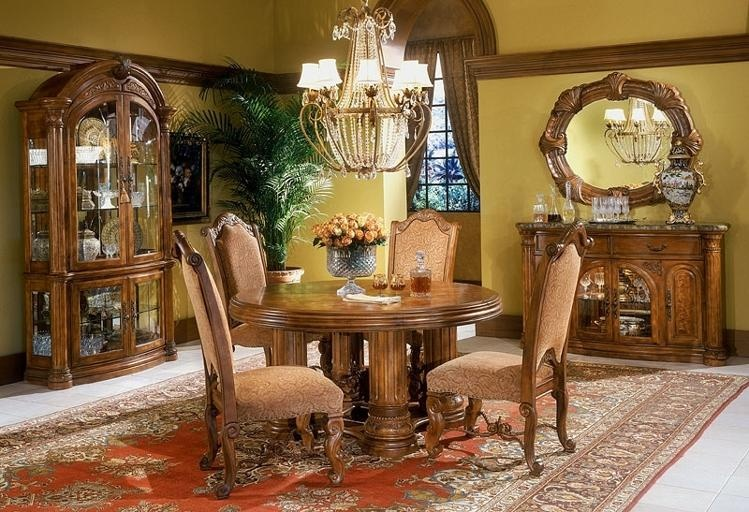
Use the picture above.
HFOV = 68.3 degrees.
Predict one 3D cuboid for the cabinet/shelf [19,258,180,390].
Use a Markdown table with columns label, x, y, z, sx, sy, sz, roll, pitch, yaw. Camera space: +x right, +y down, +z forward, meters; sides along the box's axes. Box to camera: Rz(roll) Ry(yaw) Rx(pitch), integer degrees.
| label | x | y | z | sx | sy | sz | roll | pitch | yaw |
| --- | --- | --- | --- | --- | --- | --- | --- | --- | --- |
| cabinet/shelf | -2.564 | 0.562 | 5.423 | 0.551 | 1.173 | 1.376 | 5 | 6 | 25 |

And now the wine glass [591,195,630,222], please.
| label | x | y | z | sx | sy | sz | roll | pitch | yaw |
| --- | --- | --- | --- | --- | --- | --- | --- | --- | --- |
| wine glass | 2.472 | -0.491 | 5.779 | 0.310 | 0.228 | 0.298 | 0 | 2 | 16 |

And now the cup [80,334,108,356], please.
| label | x | y | z | sx | sy | sz | roll | pitch | yaw |
| --- | --- | --- | --- | --- | --- | --- | --- | --- | --- |
| cup | -2.580 | 0.810 | 5.090 | 0.163 | 0.073 | 0.166 | -22 | -28 | -12 |

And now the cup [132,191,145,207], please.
| label | x | y | z | sx | sy | sz | roll | pitch | yaw |
| --- | --- | --- | --- | --- | --- | --- | --- | --- | --- |
| cup | -2.298 | -0.559 | 5.418 | 0.117 | 0.094 | 0.114 | -1 | 0 | 0 |

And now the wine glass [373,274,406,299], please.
| label | x | y | z | sx | sy | sz | roll | pitch | yaw |
| --- | --- | --- | --- | --- | --- | --- | --- | --- | --- |
| wine glass | 0.122 | 0.189 | 3.704 | 0.232 | 0.138 | 0.115 | 0 | 4 | 11 |

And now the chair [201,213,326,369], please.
| label | x | y | z | sx | sy | sz | roll | pitch | yaw |
| --- | --- | --- | --- | --- | --- | --- | --- | --- | --- |
| chair | -1.013 | 0.437 | 4.577 | 0.894 | 1.345 | 0.832 | -1 | -17 | -12 |

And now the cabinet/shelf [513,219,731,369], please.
| label | x | y | z | sx | sy | sz | roll | pitch | yaw |
| --- | --- | --- | --- | --- | --- | --- | --- | --- | --- |
| cabinet/shelf | 2.549 | 0.320 | 5.762 | 1.950 | 1.414 | 0.602 | 1 | 11 | 34 |

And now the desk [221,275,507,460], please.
| label | x | y | z | sx | sy | sz | roll | pitch | yaw |
| --- | --- | --- | --- | --- | --- | --- | --- | --- | --- |
| desk | 0.152 | 0.721 | 3.897 | 1.425 | 0.725 | 1.429 | 0 | 3 | -28 |

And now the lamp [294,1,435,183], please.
| label | x | y | z | sx | sy | sz | roll | pitch | yaw |
| --- | --- | --- | --- | --- | --- | --- | --- | --- | --- |
| lamp | -0.072 | -1.198 | 3.853 | 0.886 | 1.294 | 0.651 | 0 | 6 | 7 |

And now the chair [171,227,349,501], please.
| label | x | y | z | sx | sy | sz | roll | pitch | yaw |
| --- | --- | --- | --- | --- | --- | --- | --- | --- | --- |
| chair | -0.616 | 0.589 | 3.903 | 1.369 | 1.981 | 1.061 | -2 | 5 | -18 |

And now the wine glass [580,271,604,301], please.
| label | x | y | z | sx | sy | sz | roll | pitch | yaw |
| --- | --- | --- | --- | --- | --- | --- | --- | --- | --- |
| wine glass | 2.228 | 0.297 | 5.645 | 0.262 | 0.300 | 0.266 | -1 | 5 | 12 |

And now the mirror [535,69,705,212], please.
| label | x | y | z | sx | sy | sz | roll | pitch | yaw |
| --- | --- | --- | --- | --- | --- | --- | --- | --- | --- |
| mirror | 2.651 | -1.218 | 5.822 | 1.581 | 1.444 | 0.120 | 0 | 1 | 29 |

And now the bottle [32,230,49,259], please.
| label | x | y | z | sx | sy | sz | roll | pitch | yaw |
| --- | --- | --- | --- | --- | --- | --- | --- | --- | --- |
| bottle | -2.960 | -0.094 | 4.915 | 0.170 | 0.259 | 0.024 | 0 | 6 | 12 |

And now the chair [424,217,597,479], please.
| label | x | y | z | sx | sy | sz | roll | pitch | yaw |
| --- | --- | --- | --- | --- | --- | --- | --- | --- | --- |
| chair | 0.841 | 0.525 | 3.454 | 0.864 | 1.468 | 0.718 | -1 | 0 | 35 |

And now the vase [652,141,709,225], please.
| label | x | y | z | sx | sy | sz | roll | pitch | yaw |
| --- | --- | --- | --- | --- | --- | --- | --- | --- | --- |
| vase | 3.008 | -0.719 | 5.489 | 0.422 | 0.792 | 0.576 | 3 | 6 | 33 |

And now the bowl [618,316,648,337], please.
| label | x | y | z | sx | sy | sz | roll | pitch | yaw |
| --- | --- | --- | --- | --- | --- | --- | --- | --- | --- |
| bowl | 2.578 | 0.688 | 5.504 | 0.195 | 0.197 | 0.205 | -1 | 1 | 0 |

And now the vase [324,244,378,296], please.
| label | x | y | z | sx | sy | sz | roll | pitch | yaw |
| --- | --- | --- | --- | --- | --- | --- | --- | --- | --- |
| vase | -0.135 | 0.086 | 3.796 | 0.324 | 0.374 | 0.330 | 0 | 1 | 32 |
